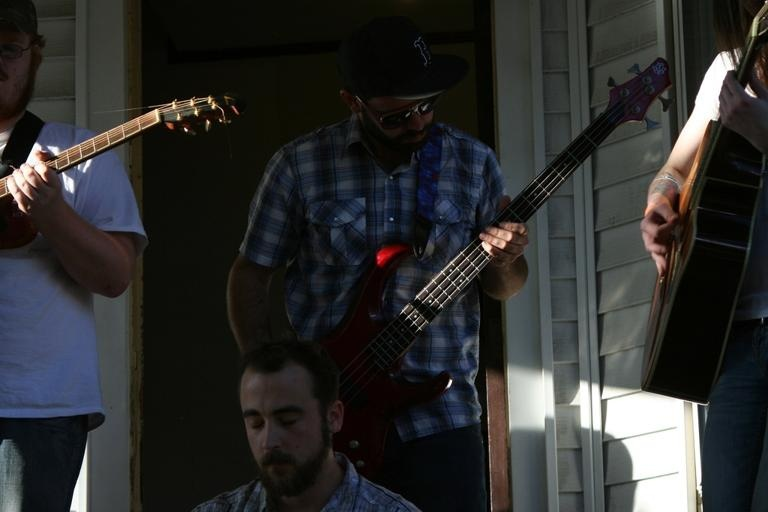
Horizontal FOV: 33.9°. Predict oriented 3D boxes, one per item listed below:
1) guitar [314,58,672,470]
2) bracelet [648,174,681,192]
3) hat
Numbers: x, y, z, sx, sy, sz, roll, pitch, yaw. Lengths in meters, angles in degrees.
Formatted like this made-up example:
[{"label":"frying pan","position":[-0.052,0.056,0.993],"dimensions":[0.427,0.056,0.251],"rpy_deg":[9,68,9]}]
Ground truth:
[{"label":"guitar","position":[0.524,0.099,5.682],"dimensions":[0.657,2.252,0.242],"rpy_deg":[43,-3,-9]},{"label":"bracelet","position":[1.166,-0.302,5.223],"dimensions":[0.100,0.025,0.075],"rpy_deg":[-10,-2,-35]},{"label":"hat","position":[0.074,-0.905,5.418],"dimensions":[0.600,0.290,0.423],"rpy_deg":[4,29,21]}]
